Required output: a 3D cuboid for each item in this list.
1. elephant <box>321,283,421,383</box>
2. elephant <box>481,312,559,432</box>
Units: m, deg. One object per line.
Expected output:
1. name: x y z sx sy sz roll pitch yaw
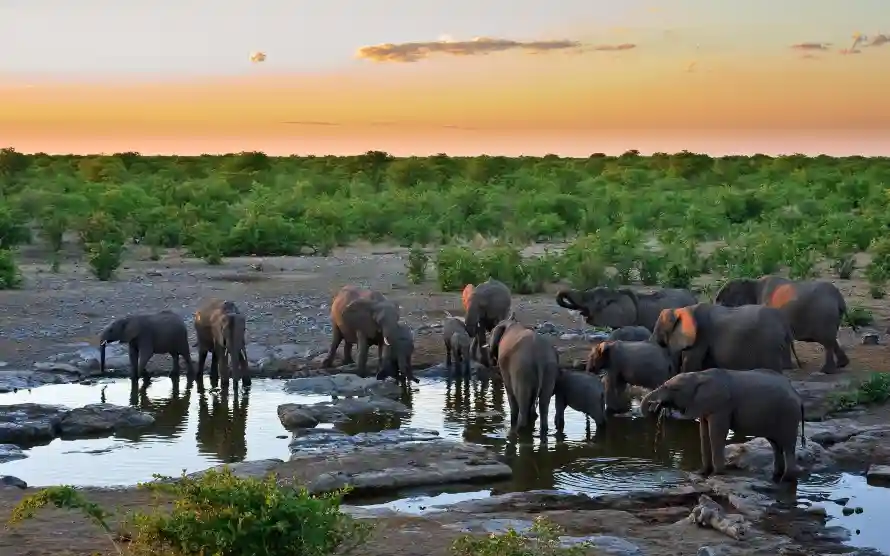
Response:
1. elephant: -1.645 1.225 22.716 1.023 2.017 2.273 -2 2 -44
2. elephant: 1.484 1.839 19.797 0.803 2.027 1.303 -1 2 -26
